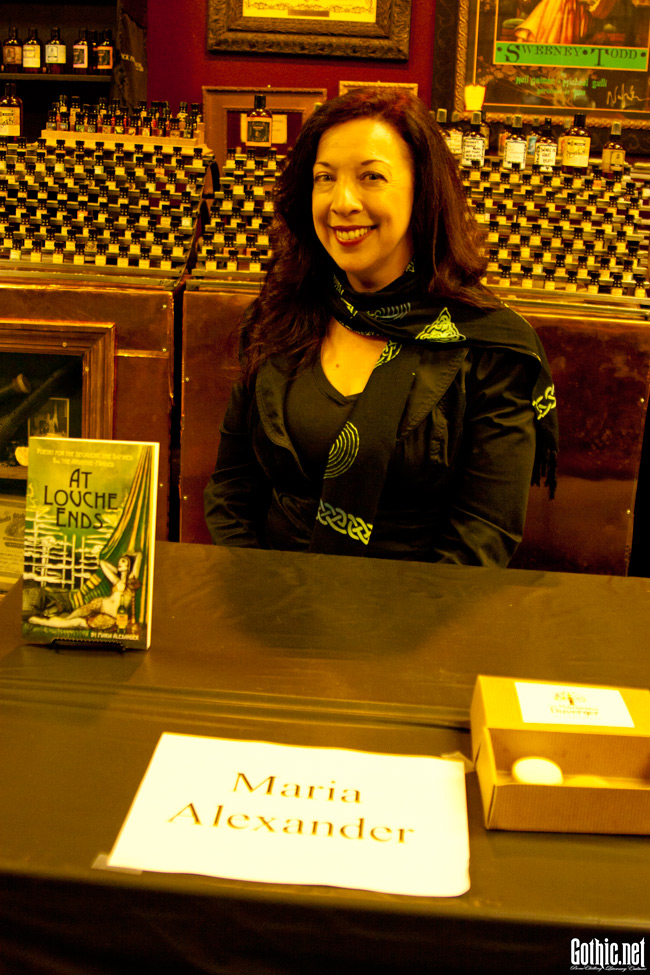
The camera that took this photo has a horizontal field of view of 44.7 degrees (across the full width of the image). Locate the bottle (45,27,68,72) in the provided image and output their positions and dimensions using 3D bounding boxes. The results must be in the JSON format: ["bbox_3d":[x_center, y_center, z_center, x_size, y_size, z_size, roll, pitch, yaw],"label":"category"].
[{"bbox_3d":[-1.400,-2.295,4.090,0.110,0.234,0.198,-1,12,-18],"label":"bottle"}]

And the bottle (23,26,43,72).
[{"bbox_3d":[-1.526,-2.301,4.109,0.100,0.235,0.204,-1,12,-20],"label":"bottle"}]

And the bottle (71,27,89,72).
[{"bbox_3d":[-1.254,-2.247,4.013,0.110,0.191,0.059,6,11,18],"label":"bottle"}]

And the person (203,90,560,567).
[{"bbox_3d":[0.108,-0.308,1.528,0.672,0.876,0.412,6,11,20],"label":"person"}]
